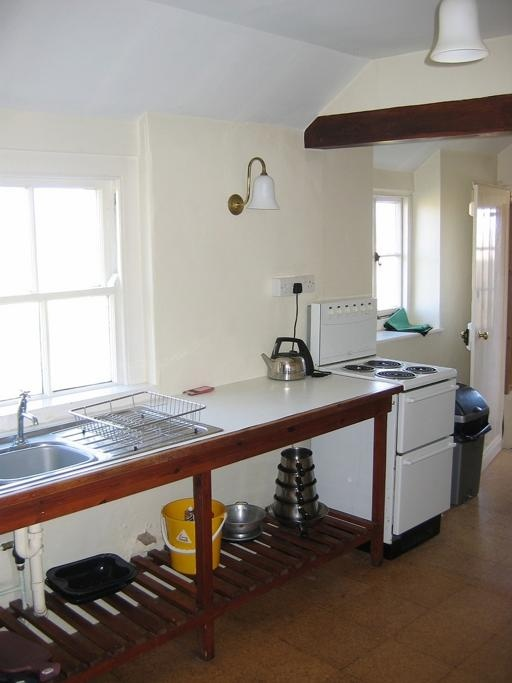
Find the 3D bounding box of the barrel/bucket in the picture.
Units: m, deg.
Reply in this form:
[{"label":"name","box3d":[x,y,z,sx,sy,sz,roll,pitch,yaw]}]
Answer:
[{"label":"barrel/bucket","box3d":[-0.248,0.736,2.274,0.292,0.211,0.274,0,12,0]}]

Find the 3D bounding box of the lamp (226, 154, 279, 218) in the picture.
[{"label":"lamp","box3d":[0.002,-0.720,2.616,0.239,0.252,0.139,1,29,18]}]

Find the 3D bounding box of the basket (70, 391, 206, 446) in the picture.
[{"label":"basket","box3d":[-0.443,0.278,2.124,0.238,0.062,0.238,15,23,34]}]

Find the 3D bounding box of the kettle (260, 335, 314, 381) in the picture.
[{"label":"kettle","box3d":[0.170,0.078,2.858,0.271,0.214,0.187,1,10,7]}]

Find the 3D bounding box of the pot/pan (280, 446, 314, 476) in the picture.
[{"label":"pot/pan","box3d":[0.193,0.556,2.669,0.098,0.092,0.128,0,2,7]}]
